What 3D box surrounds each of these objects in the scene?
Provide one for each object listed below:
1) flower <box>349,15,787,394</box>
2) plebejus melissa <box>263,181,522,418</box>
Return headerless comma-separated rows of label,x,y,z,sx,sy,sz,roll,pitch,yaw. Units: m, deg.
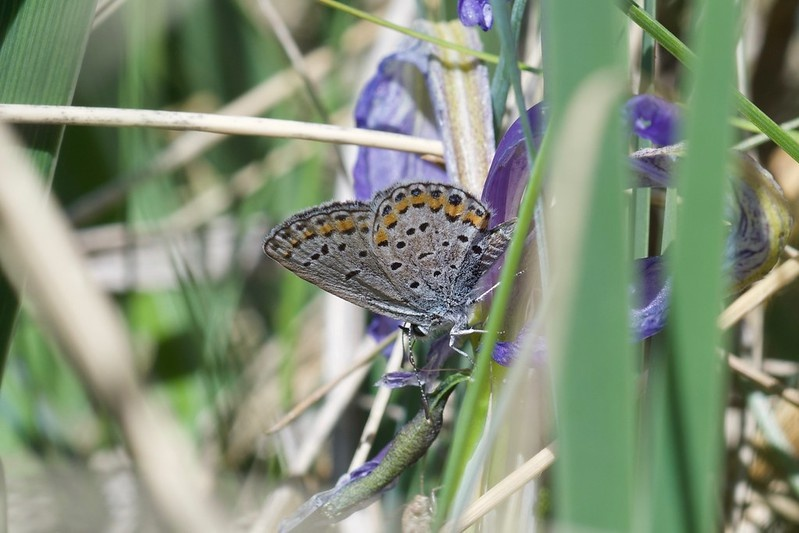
flower,0.252,-0.022,1.441,0.256,0.526,0.500,3,18,-39
plebejus melissa,0.008,-0.013,1.782,0.351,0.370,0.452,-40,-19,10
